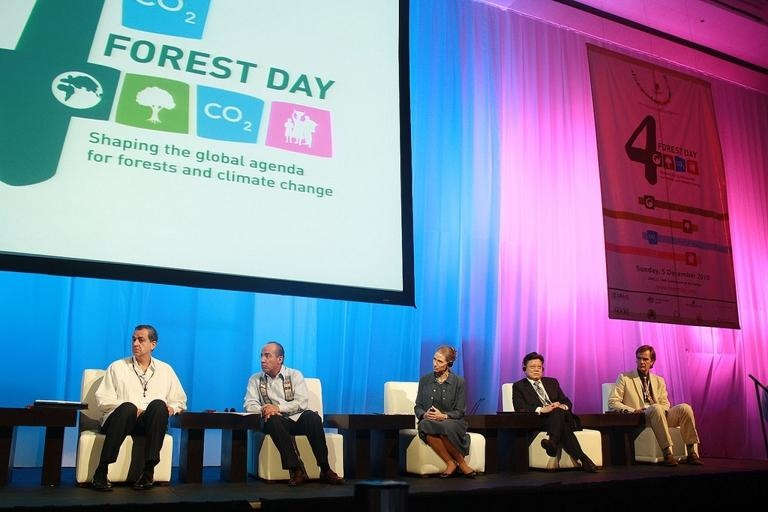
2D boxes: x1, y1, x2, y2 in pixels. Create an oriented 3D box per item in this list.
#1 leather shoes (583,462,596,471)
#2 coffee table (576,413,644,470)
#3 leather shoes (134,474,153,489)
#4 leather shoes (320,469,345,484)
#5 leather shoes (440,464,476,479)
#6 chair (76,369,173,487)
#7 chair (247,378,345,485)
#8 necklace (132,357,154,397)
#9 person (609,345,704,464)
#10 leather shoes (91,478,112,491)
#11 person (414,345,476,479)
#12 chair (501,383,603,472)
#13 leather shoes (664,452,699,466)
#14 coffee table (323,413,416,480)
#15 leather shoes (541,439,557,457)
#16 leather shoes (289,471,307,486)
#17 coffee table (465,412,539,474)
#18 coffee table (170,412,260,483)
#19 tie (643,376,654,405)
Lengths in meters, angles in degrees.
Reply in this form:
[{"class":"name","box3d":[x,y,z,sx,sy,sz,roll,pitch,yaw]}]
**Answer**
[{"class":"leather shoes","box3d":[1.726,1.761,4.770,0.139,0.058,0.047,-4,-8,3]},{"class":"coffee table","box3d":[2.096,1.675,5.461,0.594,0.462,0.605,5,-15,-25]},{"class":"leather shoes","box3d":[-1.612,1.494,3.782,0.159,0.074,0.087,-6,-12,22]},{"class":"leather shoes","box3d":[-0.370,1.577,4.059,0.211,0.087,0.080,-7,-12,34]},{"class":"leather shoes","box3d":[0.573,1.685,4.447,0.300,0.086,0.111,4,-15,-6]},{"class":"chair","box3d":[-1.884,1.296,4.218,0.627,0.861,0.862,8,-22,-28]},{"class":"chair","box3d":[-0.720,1.403,4.546,0.663,0.961,0.709,9,-25,-22]},{"class":"necklace","box3d":[-1.763,0.890,4.178,0.137,0.256,0.066,4,-22,-31]},{"class":"person","box3d":[2.732,1.516,5.788,0.684,1.313,0.882,17,-38,-5]},{"class":"leather shoes","box3d":[-1.839,1.483,3.721,0.159,0.072,0.057,-3,-13,30]},{"class":"person","box3d":[0.474,1.238,4.615,0.429,0.996,0.292,-2,-11,1]},{"class":"chair","box3d":[1.436,1.615,5.354,0.639,0.918,0.873,9,-18,-30]},{"class":"leather shoes","box3d":[2.797,1.901,5.349,0.226,0.085,0.314,5,-13,-14]},{"class":"coffee table","box3d":[-0.093,1.466,4.456,0.565,0.511,0.575,6,-17,-23]},{"class":"leather shoes","box3d":[1.407,1.620,4.828,0.130,0.156,0.208,-4,-12,15]},{"class":"leather shoes","box3d":[-0.601,1.574,4.035,0.067,0.085,0.196,-2,-18,7]},{"class":"coffee table","box3d":[0.991,1.544,5.008,0.562,0.513,0.576,3,-14,-17]},{"class":"coffee table","box3d":[-1.227,1.459,4.337,0.691,0.528,0.703,-1,-16,12]},{"class":"tie","box3d":[2.591,1.328,5.564,0.050,0.210,0.123,-14,-15,41]}]
